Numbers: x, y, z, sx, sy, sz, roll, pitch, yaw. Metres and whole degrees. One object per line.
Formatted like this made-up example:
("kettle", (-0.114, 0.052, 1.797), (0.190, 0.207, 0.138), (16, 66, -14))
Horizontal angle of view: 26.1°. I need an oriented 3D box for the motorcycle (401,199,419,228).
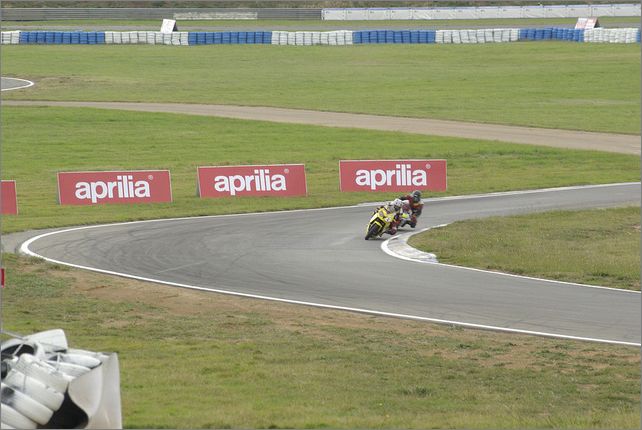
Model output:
("motorcycle", (5.952, -0.105, 93.802), (1.391, 1.654, 0.870), (1, 5, -5))
